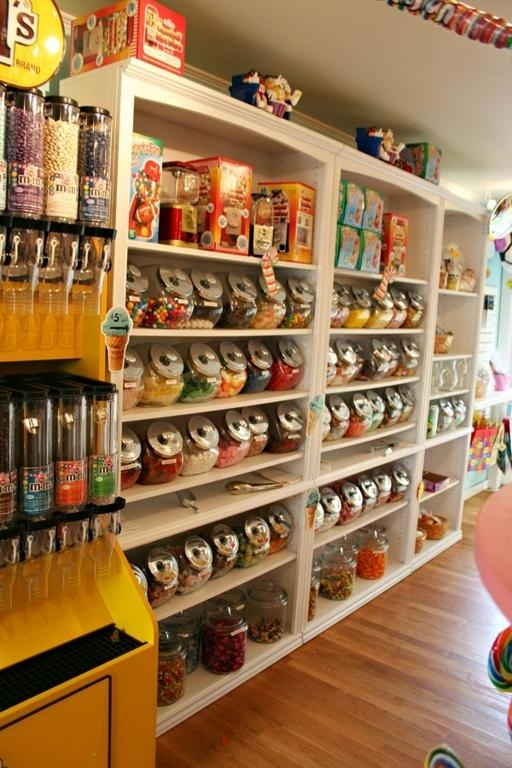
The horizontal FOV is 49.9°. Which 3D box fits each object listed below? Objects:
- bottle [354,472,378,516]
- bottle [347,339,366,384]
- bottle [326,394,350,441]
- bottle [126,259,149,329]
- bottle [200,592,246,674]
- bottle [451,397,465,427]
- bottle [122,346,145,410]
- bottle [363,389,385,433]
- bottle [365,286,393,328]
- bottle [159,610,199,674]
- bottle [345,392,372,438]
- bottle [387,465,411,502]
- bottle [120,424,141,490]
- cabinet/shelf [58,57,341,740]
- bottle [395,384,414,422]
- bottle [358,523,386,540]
[{"bbox_3d":[0.581,0.623,3.088,0.128,0.176,0.179,1,9,-1],"label":"bottle"},{"bbox_3d":[0.550,-0.126,2.937,0.120,0.209,0.192,2,-4,-9],"label":"bottle"},{"bbox_3d":[0.404,0.165,2.712,0.133,0.193,0.208,1,55,-4],"label":"bottle"},{"bbox_3d":[-0.360,-0.269,1.676,0.068,0.191,0.225,3,5,-13],"label":"bottle"},{"bbox_3d":[-0.112,1.011,2.331,0.210,0.365,0.209,0,7,0],"label":"bottle"},{"bbox_3d":[1.427,0.195,3.912,0.125,0.125,0.128,25,59,34],"label":"bottle"},{"bbox_3d":[-0.367,-0.007,1.645,0.097,0.141,0.146,3,19,-14],"label":"bottle"},{"bbox_3d":[0.652,0.142,3.062,0.130,0.211,0.194,-2,-6,2],"label":"bottle"},{"bbox_3d":[0.661,-0.395,2.921,0.152,0.173,0.179,1,14,-13],"label":"bottle"},{"bbox_3d":[-0.268,0.981,2.142,0.179,0.201,0.187,3,8,5],"label":"bottle"},{"bbox_3d":[0.538,0.170,2.859,0.135,0.212,0.212,10,1,37],"label":"bottle"},{"bbox_3d":[0.856,0.602,3.333,0.139,0.213,0.217,1,7,10],"label":"bottle"},{"bbox_3d":[-0.384,0.238,1.703,0.063,0.181,0.139,3,4,-13],"label":"bottle"},{"bbox_3d":[-0.175,0.095,2.014,0.317,2.210,1.149,7,5,36],"label":"cabinet/shelf"},{"bbox_3d":[0.898,0.125,3.293,0.137,0.199,0.204,3,12,9],"label":"bottle"},{"bbox_3d":[0.698,0.901,3.290,0.133,0.135,0.098,2,14,13],"label":"bottle"}]
